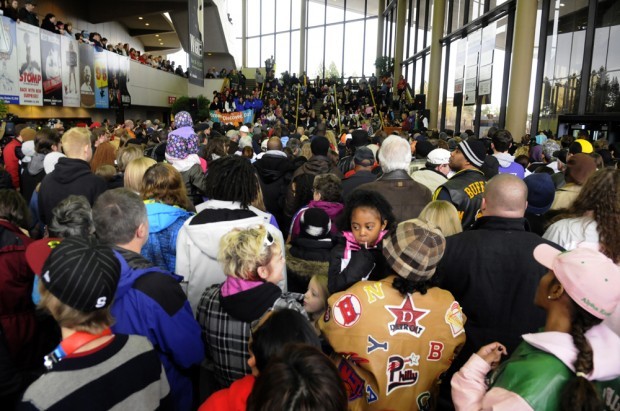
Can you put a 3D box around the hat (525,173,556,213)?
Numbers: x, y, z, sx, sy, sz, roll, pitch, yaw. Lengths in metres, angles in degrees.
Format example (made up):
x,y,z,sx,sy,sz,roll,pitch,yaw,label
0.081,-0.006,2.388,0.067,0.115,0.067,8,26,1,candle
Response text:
x,y,z,sx,sy,sz,roll,pitch,yaw,label
2.080,-0.100,3.798,0.172,0.180,0.280,12,49,20,hat

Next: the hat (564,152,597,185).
x,y,z,sx,sy,sz,roll,pitch,yaw,label
2.318,-0.305,3.624,0.228,0.279,0.244,12,16,38,hat

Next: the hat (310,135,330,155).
x,y,z,sx,sy,sz,roll,pitch,yaw,label
0.113,-0.648,4.853,0.189,0.215,0.239,9,51,-4,hat

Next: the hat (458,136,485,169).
x,y,z,sx,sy,sz,roll,pitch,yaw,label
1.663,-0.558,4.314,0.279,0.217,0.243,44,33,23,hat

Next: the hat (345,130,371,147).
x,y,z,sx,sy,sz,roll,pitch,yaw,label
0.694,-0.886,5.983,0.291,0.198,0.370,-5,31,1,hat

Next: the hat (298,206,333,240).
x,y,z,sx,sy,sz,roll,pitch,yaw,label
0.039,0.117,3.189,0.208,0.240,0.206,-10,29,-14,hat
